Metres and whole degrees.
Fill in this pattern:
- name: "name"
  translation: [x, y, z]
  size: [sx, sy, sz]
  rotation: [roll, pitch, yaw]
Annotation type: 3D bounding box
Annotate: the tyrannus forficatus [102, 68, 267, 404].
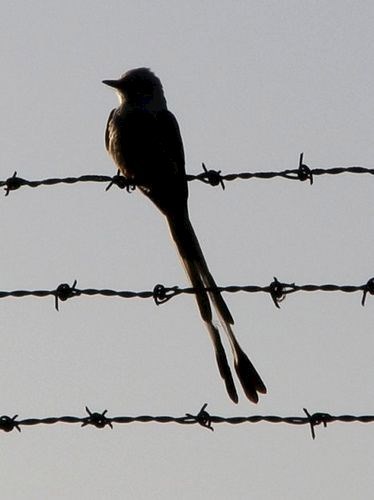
- name: "tyrannus forficatus"
  translation: [-0.041, -0.119, 3.763]
  size: [0.193, 1.257, 0.352]
  rotation: [-9, 4, 5]
